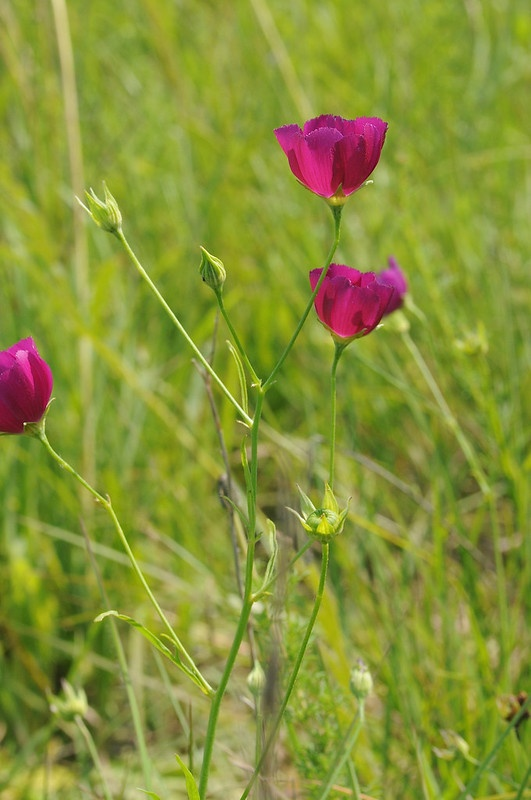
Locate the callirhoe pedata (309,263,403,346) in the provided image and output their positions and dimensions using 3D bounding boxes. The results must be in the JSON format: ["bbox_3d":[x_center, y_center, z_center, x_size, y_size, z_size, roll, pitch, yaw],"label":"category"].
[{"bbox_3d":[0.061,-0.064,0.577,0.065,0.066,0.059,9,14,12],"label":"callirhoe pedata"}]
